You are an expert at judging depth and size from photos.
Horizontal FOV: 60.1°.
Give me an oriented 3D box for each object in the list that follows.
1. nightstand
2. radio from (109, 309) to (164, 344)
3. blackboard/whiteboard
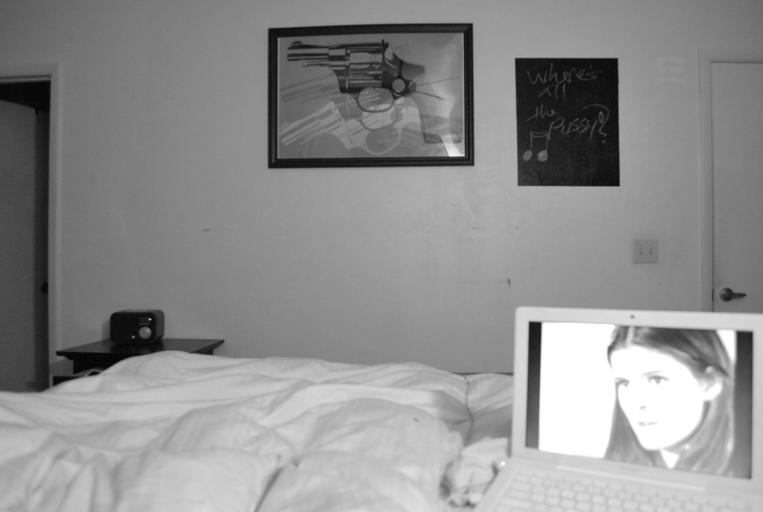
[{"bbox_3d":[-1.433,0.526,3.847,0.413,0.264,0.496,0,-3,4],"label":"nightstand"},{"bbox_3d":[-1.445,0.396,3.904,0.325,0.180,0.339,6,7,38],"label":"radio"},{"bbox_3d":[1.123,-0.810,3.878,0.706,0.866,0.042,0,2,3],"label":"blackboard/whiteboard"}]
